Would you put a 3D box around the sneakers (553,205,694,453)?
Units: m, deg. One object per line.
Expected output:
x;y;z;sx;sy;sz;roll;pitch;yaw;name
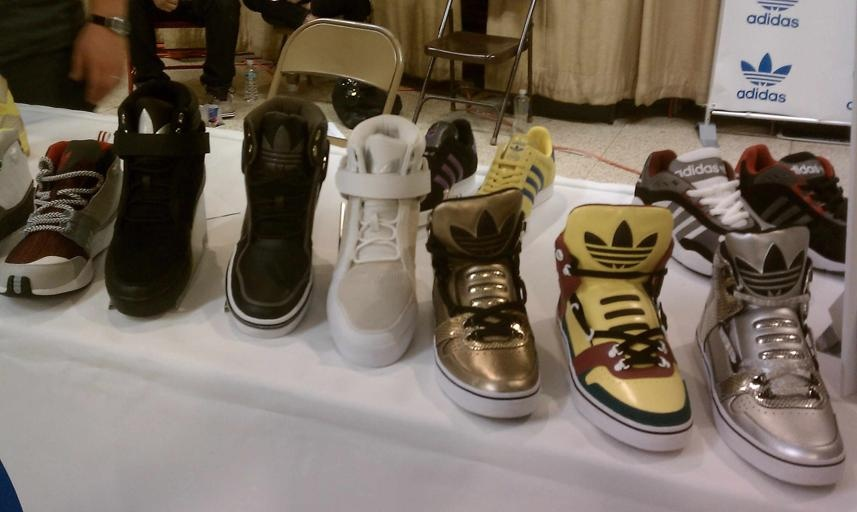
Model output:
0.366;0.122;1.167;0.225;0.395;0.284;1;21;1;sneakers

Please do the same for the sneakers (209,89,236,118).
-1.042;-0.781;3.136;0.085;0.097;0.244;-4;37;-31;sneakers

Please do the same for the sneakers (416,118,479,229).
0.058;-0.245;1.600;0.116;0.142;0.336;8;29;18;sneakers

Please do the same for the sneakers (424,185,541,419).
0.105;0.071;1.223;0.177;0.271;0.491;-2;34;0;sneakers
